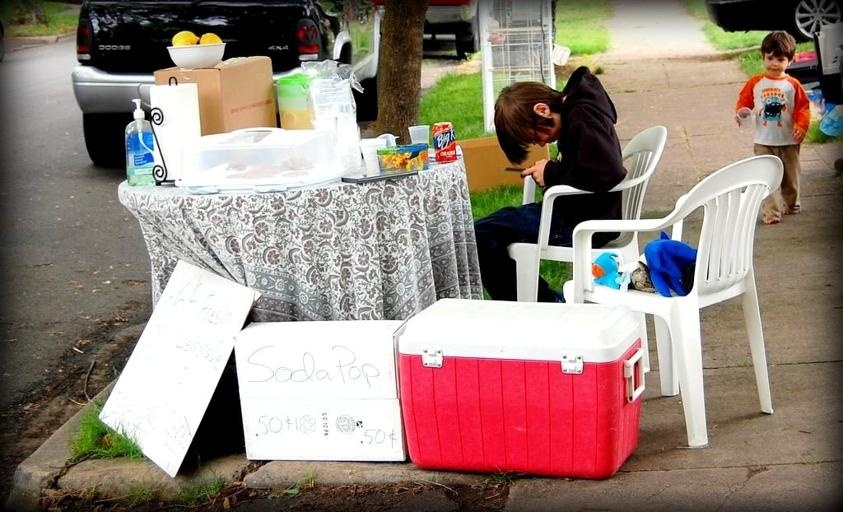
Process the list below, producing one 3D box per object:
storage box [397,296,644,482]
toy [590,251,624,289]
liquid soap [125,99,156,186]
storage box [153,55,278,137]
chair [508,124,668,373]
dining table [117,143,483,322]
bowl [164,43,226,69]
[{"bbox_3d":[0.604,0.623,4.146,1.616,0.944,0.892,0,9,19],"label":"storage box"},{"bbox_3d":[1.080,0.077,4.377,0.209,0.204,0.145,13,-6,-34],"label":"toy"},{"bbox_3d":[-1.686,-0.637,4.555,0.174,0.585,0.184,2,0,-8],"label":"liquid soap"},{"bbox_3d":[-1.318,-0.981,4.898,0.468,0.500,0.806,1,18,9],"label":"storage box"},{"bbox_3d":[1.181,-0.071,5.511,1.645,1.875,0.792,1,0,6],"label":"chair"},{"bbox_3d":[-0.641,-0.019,4.516,1.985,0.926,0.715,-4,24,1],"label":"dining table"},{"bbox_3d":[-1.371,-1.234,4.624,0.316,0.138,0.201,-10,23,-14],"label":"bowl"}]
